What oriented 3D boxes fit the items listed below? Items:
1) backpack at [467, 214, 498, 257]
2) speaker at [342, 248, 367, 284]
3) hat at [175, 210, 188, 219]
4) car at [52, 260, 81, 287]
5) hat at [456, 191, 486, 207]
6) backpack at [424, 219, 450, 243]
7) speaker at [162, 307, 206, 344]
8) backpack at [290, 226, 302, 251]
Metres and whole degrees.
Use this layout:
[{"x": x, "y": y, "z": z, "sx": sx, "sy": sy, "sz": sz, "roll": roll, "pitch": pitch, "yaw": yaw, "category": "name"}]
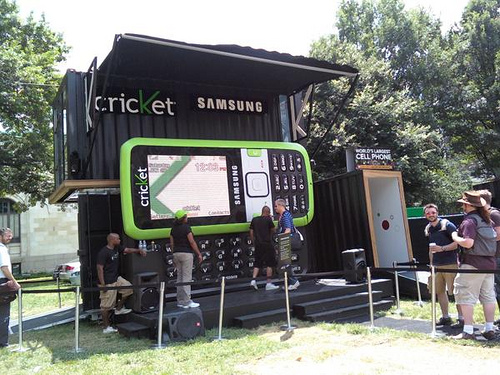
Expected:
[{"x": 3.439, "y": 0.721, "z": 5.563, "sx": 0.402, "sy": 0.625, "sz": 0.142, "roll": -3, "pitch": -6, "yaw": 1, "category": "backpack"}, {"x": 2.588, "y": 1.894, "z": 9.170, "sx": 0.520, "sy": 0.750, "sz": 0.735, "roll": -8, "pitch": -8, "yaw": 41, "category": "speaker"}, {"x": -1.447, "y": 0.562, "z": 7.857, "sx": 0.198, "sy": 0.180, "sz": 0.274, "roll": -1, "pitch": -6, "yaw": -17, "category": "hat"}, {"x": -7.852, "y": 3.676, "z": 16.273, "sx": 0.676, "sy": 0.944, "sz": 3.595, "roll": 1, "pitch": -7, "yaw": -34, "category": "car"}, {"x": 3.365, "y": 0.173, "z": 5.653, "sx": 0.280, "sy": 0.121, "sz": 0.300, "roll": 8, "pitch": 1, "yaw": -38, "category": "hat"}, {"x": 3.239, "y": 0.741, "z": 6.586, "sx": 0.388, "sy": 0.545, "sz": 0.381, "roll": -4, "pitch": -6, "yaw": 42, "category": "backpack"}, {"x": -1.185, "y": 2.406, "z": 6.613, "sx": 0.528, "sy": 0.346, "sz": 0.524, "roll": 0, "pitch": -6, "yaw": -34, "category": "speaker"}, {"x": 1.023, "y": 1.238, "z": 8.877, "sx": 0.315, "sy": 0.637, "sz": 0.430, "roll": 2, "pitch": -5, "yaw": -13, "category": "backpack"}]
